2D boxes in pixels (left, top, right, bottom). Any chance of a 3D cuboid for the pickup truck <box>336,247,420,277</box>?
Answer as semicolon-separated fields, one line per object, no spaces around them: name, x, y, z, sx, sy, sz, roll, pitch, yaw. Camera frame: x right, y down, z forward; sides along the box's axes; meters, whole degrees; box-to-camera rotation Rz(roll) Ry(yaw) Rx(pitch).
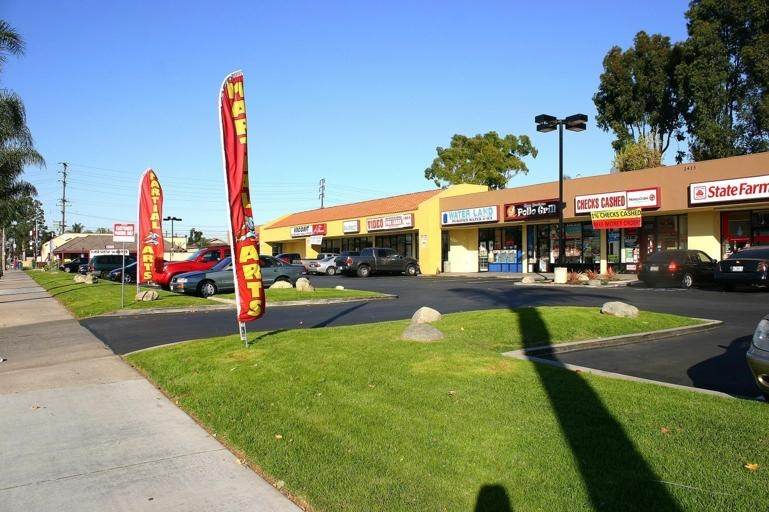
pickup truck;-0.403;0.395;36.892;5.230;1.656;2.292;-2;2;-32
